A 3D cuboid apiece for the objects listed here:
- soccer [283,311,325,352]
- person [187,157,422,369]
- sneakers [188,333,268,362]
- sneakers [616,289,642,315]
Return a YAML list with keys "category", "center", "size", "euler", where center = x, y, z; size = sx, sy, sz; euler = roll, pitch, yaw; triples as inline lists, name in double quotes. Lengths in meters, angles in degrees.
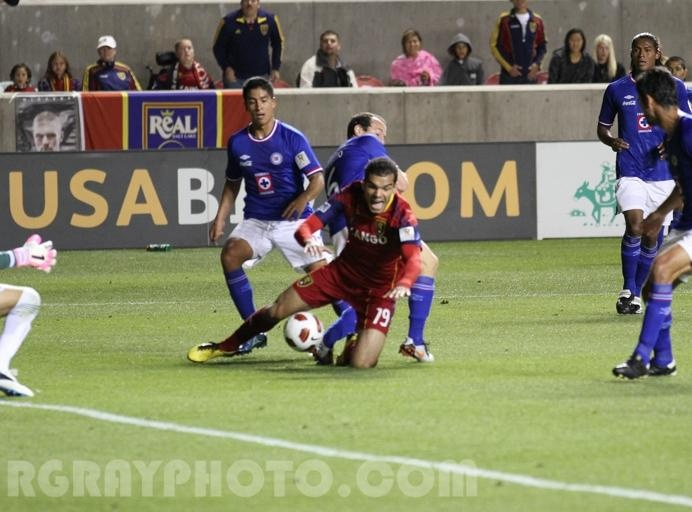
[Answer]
- category: "soccer"
  center: [-0.356, 0.594, 10.977]
  size: [0.307, 0.360, 0.315]
  euler: [-4, 9, -12]
- category: "person"
  center: [-0.435, 0.107, 10.968]
  size: [1.102, 1.394, 1.910]
  euler: [14, -16, -26]
- category: "sneakers"
  center: [-0.981, 0.733, 11.098]
  size: [0.679, 0.293, 0.233]
  euler: [-4, -2, -19]
- category: "sneakers"
  center: [2.754, 0.463, 12.757]
  size: [0.121, 0.250, 0.364]
  euler: [5, 4, 42]
